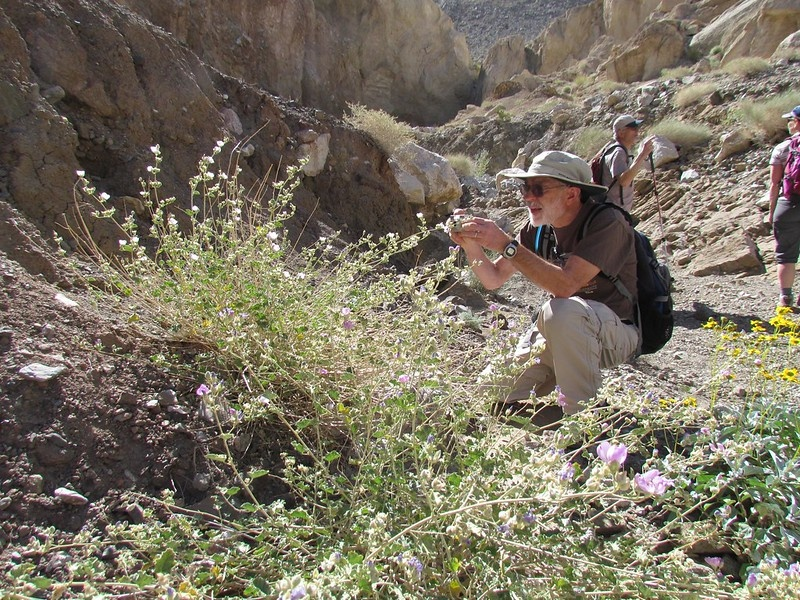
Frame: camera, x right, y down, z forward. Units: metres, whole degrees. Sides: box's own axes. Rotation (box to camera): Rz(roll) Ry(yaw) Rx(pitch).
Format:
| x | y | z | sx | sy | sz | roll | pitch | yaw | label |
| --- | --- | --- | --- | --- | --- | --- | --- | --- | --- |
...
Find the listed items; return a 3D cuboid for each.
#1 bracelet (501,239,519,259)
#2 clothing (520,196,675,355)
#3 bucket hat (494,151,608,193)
| x | y | z | sx | sy | sz | roll | pitch | yaw | label |
| --- | --- | --- | --- | --- | --- | --- | --- | --- | --- |
| 0.656 | -0.294 | 3.523 | 0.113 | 0.074 | 0.115 | -58 | 0 | -11 | bracelet |
| 1.320 | -0.131 | 4.220 | 1.151 | 0.963 | 0.750 | 3 | -3 | -5 | clothing |
| 1.099 | -0.833 | 3.886 | 0.661 | 0.178 | 0.646 | 19 | 15 | 36 | bucket hat |
